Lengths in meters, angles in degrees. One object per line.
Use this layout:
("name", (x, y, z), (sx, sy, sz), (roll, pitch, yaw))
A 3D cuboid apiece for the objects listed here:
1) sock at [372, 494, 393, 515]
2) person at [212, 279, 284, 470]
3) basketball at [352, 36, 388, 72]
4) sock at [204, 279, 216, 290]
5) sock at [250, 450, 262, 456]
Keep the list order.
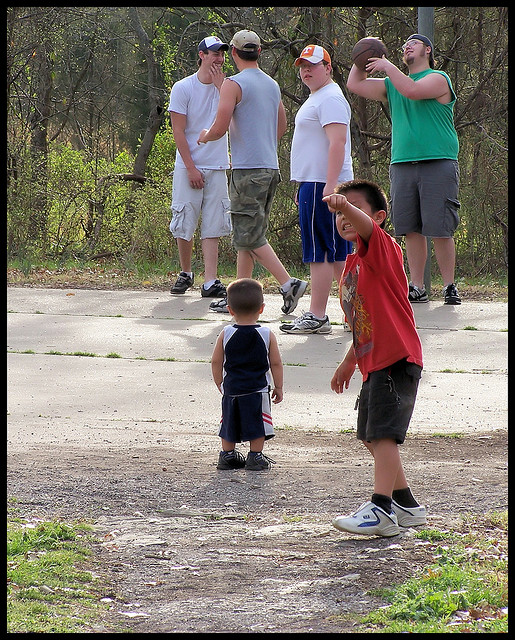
("sock", (0.417, 0.613, 3.455), (0.064, 0.064, 0.060), (-2, 2, 5))
("person", (-0.039, 0.214, 4.354), (0.295, 0.771, 0.390), (-2, 2, -3))
("basketball", (0.827, -1.956, 7.655), (0.242, 0.267, 0.259), (-2, 2, 5))
("sock", (-0.381, -0.285, 8.252), (0.101, 0.078, 0.071), (-1, 2, 14))
("sock", (-0.009, 0.542, 4.259), (0.049, 0.020, 0.034), (-1, 2, 15))
